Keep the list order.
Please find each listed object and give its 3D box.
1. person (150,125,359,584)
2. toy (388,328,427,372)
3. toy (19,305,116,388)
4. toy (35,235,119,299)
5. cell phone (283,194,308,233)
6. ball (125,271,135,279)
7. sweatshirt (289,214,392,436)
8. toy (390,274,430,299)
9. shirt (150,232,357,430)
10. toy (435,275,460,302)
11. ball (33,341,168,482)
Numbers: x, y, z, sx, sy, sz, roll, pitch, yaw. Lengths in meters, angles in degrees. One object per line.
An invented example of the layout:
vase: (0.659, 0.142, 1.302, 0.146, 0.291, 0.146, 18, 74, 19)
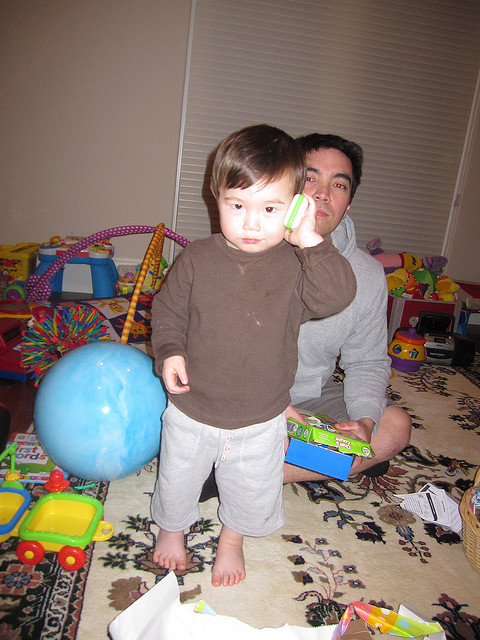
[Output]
person: (-0.020, 0.105, 1.011, 0.403, 0.928, 0.303, -8, 28, -17)
toy: (0.885, 0.165, 2.655, 0.195, 0.174, 0.213, -3, 26, -8)
toy: (-0.568, 0.072, 1.556, 0.305, 0.275, 0.121, 17, -12, -16)
toy: (-0.982, -0.345, 3.246, 0.613, 0.418, 0.498, 1, 13, 1)
cell phone: (0.099, -0.188, 0.879, 0.034, 0.065, 0.022, 23, 10, 2)
ball: (-0.732, -0.293, 3.239, 0.057, 0.047, 0.019, 3, -5, -2)
sweatshirt: (0.324, 0.046, 1.415, 0.338, 0.618, 0.322, 4, 23, -5)
toy: (1.048, -0.188, 3.039, 0.166, 0.125, 0.289, 22, 32, 37)
shirt: (-0.030, -0.016, 1.088, 0.429, 0.382, 0.432, -4, 26, -19)
toy: (1.306, -0.185, 3.132, 0.150, 0.107, 0.336, 12, 27, 22)
ball: (-0.366, 0.260, 1.336, 0.351, 0.359, 0.330, 5, 23, -2)
